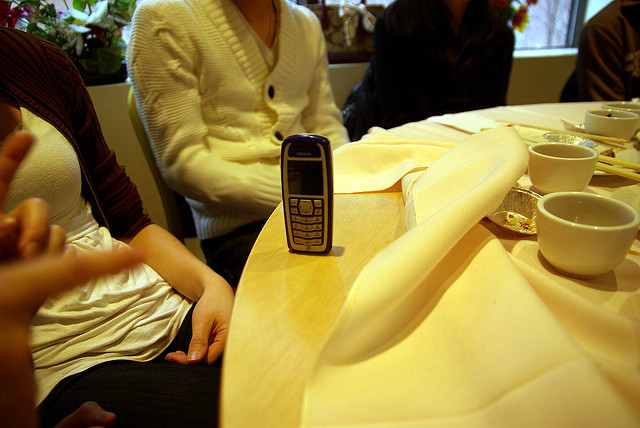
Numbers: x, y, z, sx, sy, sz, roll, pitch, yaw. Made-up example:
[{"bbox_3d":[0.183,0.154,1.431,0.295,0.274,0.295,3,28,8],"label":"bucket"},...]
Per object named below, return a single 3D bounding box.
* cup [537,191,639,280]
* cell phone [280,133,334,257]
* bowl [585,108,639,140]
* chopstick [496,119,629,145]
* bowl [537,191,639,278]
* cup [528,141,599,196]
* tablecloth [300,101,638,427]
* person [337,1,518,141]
[{"bbox_3d":[0.412,0.025,0.733,0.134,0.112,0.132,-1,28,0],"label":"cup"},{"bbox_3d":[-0.025,-0.040,0.820,0.099,0.251,0.034,1,33,4],"label":"cell phone"},{"bbox_3d":[0.724,-0.221,1.111,0.087,0.064,0.096,2,17,-3],"label":"bowl"},{"bbox_3d":[0.627,-0.210,1.169,0.342,0.016,0.014,12,22,6],"label":"chopstick"},{"bbox_3d":[0.419,0.036,0.748,0.131,0.112,0.135,-2,27,1],"label":"bowl"},{"bbox_3d":[0.475,-0.080,0.894,0.116,0.099,0.124,5,1,0],"label":"cup"},{"bbox_3d":[0.202,0.174,0.794,0.476,0.552,0.405,2,31,-6],"label":"tablecloth"},{"bbox_3d":[0.541,-0.701,2.309,0.779,0.964,0.379,3,46,-6],"label":"person"}]
